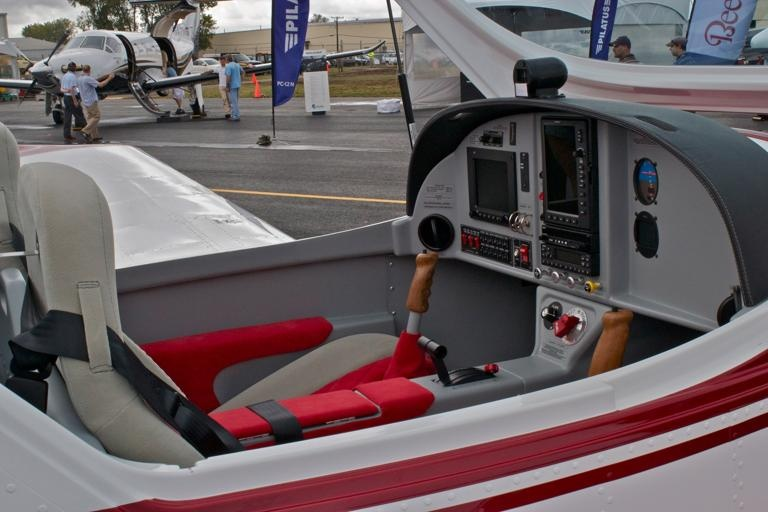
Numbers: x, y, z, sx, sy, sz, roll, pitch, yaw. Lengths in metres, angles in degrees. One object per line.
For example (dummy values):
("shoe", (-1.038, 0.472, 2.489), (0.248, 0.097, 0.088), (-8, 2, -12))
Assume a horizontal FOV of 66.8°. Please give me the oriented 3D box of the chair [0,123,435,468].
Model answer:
("chair", (-0.478, 0.166, 2.454), (1.815, 1.249, 1.422), (-5, 10, -33))
